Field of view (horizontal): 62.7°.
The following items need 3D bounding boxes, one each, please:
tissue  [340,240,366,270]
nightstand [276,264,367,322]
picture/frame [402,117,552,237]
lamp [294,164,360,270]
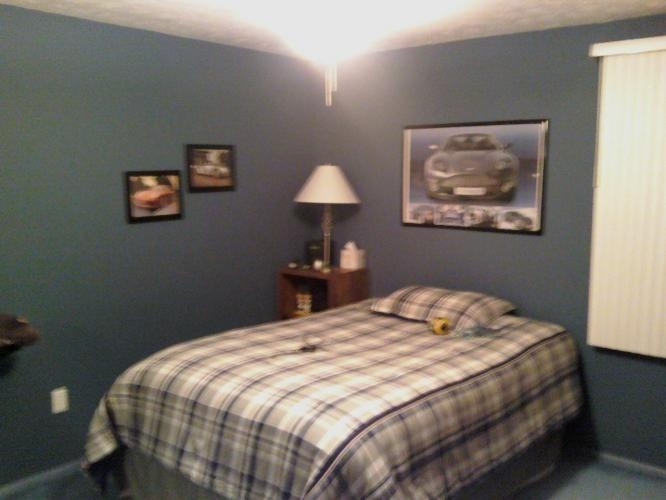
[{"bbox_3d":[0.160,0.044,4.553,0.227,0.304,0.221,3,2,39],"label":"tissue "},{"bbox_3d":[-0.087,0.296,4.598,0.676,0.631,0.477,2,3,33],"label":"nightstand"},{"bbox_3d":[1.091,-0.538,3.985,0.920,0.644,0.017,5,9,33],"label":"picture/frame"},{"bbox_3d":[-0.045,-0.275,4.543,0.478,0.849,0.508,-11,18,-40],"label":"lamp"}]
